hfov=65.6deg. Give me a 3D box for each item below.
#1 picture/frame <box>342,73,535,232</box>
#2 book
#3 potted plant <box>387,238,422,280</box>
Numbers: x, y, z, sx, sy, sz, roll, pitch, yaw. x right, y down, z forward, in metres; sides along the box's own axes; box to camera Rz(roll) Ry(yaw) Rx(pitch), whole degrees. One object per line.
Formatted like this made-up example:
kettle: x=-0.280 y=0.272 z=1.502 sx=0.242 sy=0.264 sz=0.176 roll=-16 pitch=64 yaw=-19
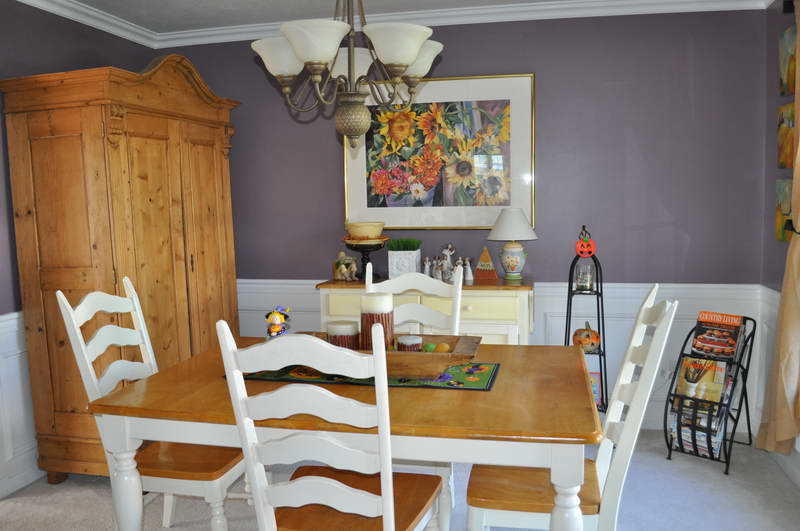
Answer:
picture/frame: x=0.401 y=-0.958 z=5.135 sx=1.368 sy=1.024 sz=0.050 roll=0 pitch=1 yaw=10
book: x=2.336 y=0.909 z=4.752 sx=0.539 sy=1.093 sz=0.641 roll=5 pitch=9 yaw=30
potted plant: x=0.021 y=-0.058 z=5.097 sx=0.296 sy=0.363 sz=0.302 roll=0 pitch=8 yaw=0
